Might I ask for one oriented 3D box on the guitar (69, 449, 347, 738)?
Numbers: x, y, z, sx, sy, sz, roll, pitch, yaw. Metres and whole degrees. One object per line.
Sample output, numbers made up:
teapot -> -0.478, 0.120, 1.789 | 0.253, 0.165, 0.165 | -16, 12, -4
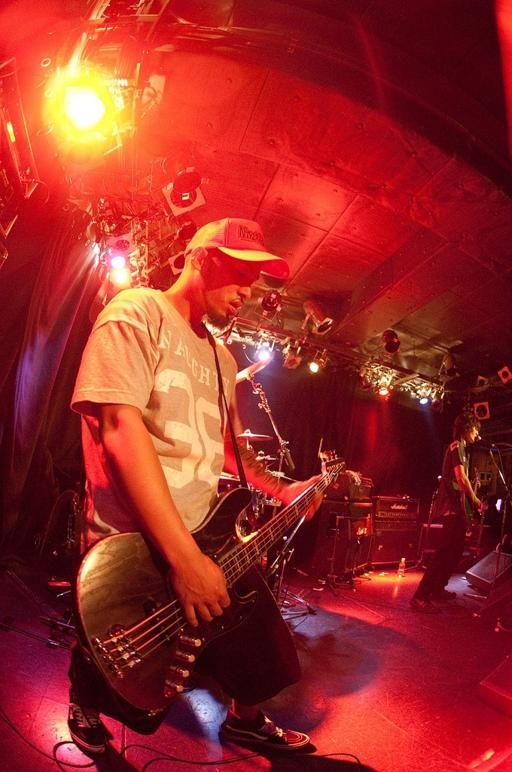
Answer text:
guitar -> -0.035, 0.618, 1.997 | 0.172, 0.602, 1.401 | -9, 13, 47

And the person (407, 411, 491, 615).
person -> 2.168, 1.586, 5.953 | 0.619, 1.915, 0.591 | 5, -10, 18

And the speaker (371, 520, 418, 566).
speaker -> 2.211, 2.664, 8.784 | 0.970, 0.835, 0.391 | 6, -7, -21

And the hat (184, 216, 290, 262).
hat -> -0.110, -0.589, 2.139 | 0.297, 0.147, 0.205 | -2, 17, 4

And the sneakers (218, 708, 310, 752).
sneakers -> 0.028, 1.691, 2.572 | 0.451, 0.183, 0.172 | 4, -36, 6

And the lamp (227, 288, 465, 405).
lamp -> 1.415, -0.618, 8.306 | 4.080, 0.714, 0.581 | 22, 14, -45
